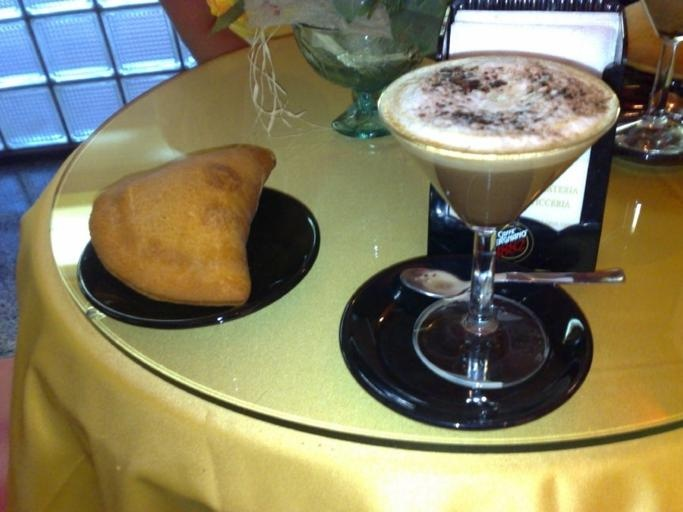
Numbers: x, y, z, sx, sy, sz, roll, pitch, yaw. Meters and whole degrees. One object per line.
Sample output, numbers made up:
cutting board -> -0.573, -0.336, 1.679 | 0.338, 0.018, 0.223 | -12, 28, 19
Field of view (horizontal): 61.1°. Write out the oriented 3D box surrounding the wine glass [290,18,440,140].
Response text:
wine glass -> 0.028, -0.289, 0.959 | 0.202, 0.192, 0.228 | -4, 31, -10

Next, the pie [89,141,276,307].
pie -> -0.187, -0.028, 0.712 | 0.186, 0.061, 0.220 | 1, 48, -12

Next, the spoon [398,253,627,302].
spoon -> 0.202, 0.027, 0.683 | 0.167, 0.025, 0.041 | 3, 47, 10

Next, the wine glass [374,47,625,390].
wine glass -> 0.178, -0.029, 0.623 | 0.226, 0.297, 0.241 | -14, 41, -9
